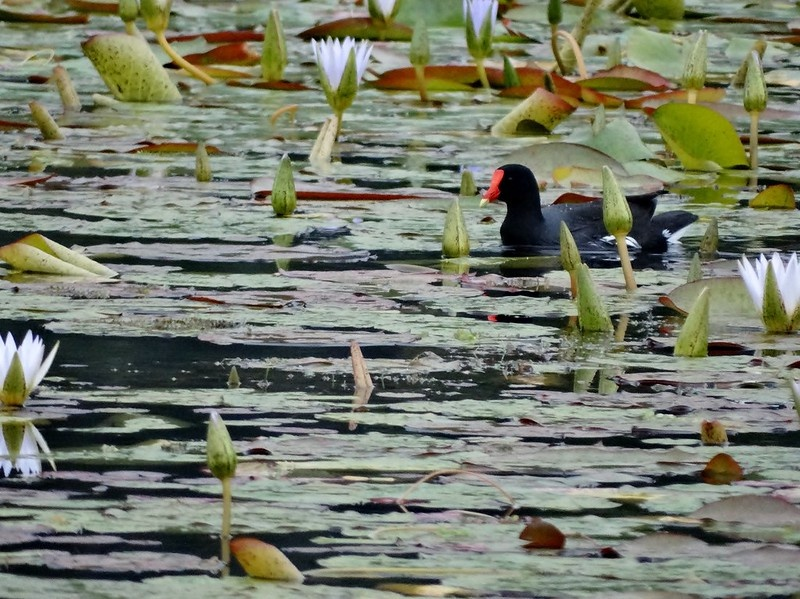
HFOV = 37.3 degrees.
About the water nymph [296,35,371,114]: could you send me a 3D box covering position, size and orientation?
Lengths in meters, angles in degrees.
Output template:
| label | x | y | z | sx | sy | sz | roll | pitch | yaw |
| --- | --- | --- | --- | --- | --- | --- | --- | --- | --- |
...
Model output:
| label | x | y | z | sx | sy | sz | roll | pitch | yaw |
| --- | --- | --- | --- | --- | --- | --- | --- | --- | --- |
| water nymph | -0.344 | -1.271 | 6.811 | 0.317 | 0.465 | 0.173 | 20 | 34 | 38 |
